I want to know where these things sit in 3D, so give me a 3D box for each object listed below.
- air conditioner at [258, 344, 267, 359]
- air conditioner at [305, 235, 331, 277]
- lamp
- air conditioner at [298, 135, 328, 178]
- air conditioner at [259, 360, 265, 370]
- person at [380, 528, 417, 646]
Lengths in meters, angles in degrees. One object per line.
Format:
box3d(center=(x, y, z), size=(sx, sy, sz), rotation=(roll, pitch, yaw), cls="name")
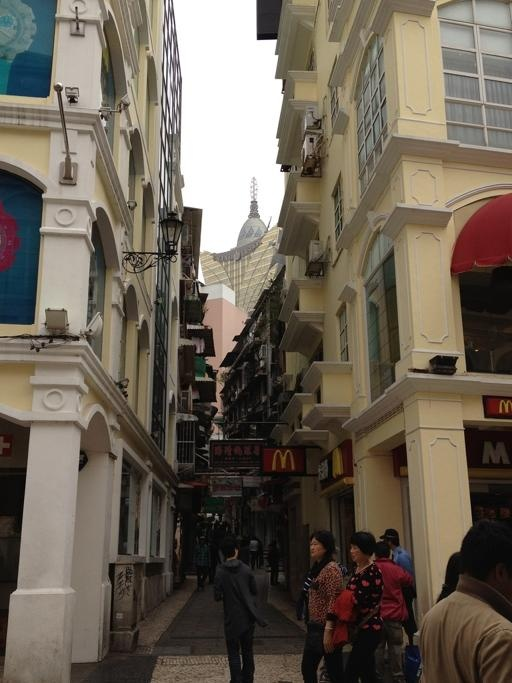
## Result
box3d(center=(0.706, 0.997, 55.411), size=(0.928, 2.209, 1.062), rotation=(1, -8, 0), cls="air conditioner")
box3d(center=(1.804, -2.467, 17.017), size=(0.553, 1.015, 1.273), rotation=(1, -20, -6), cls="air conditioner")
box3d(center=(-1.873, -1.855, 10.416), size=(1.121, 1.333, 0.468), rotation=(1, 18, -21), cls="lamp")
box3d(center=(1.750, -5.609, 17.530), size=(0.705, 1.523, 1.477), rotation=(0, -25, 1), cls="air conditioner")
box3d(center=(0.595, 2.143, 54.941), size=(0.346, 1.183, 1.353), rotation=(1, -19, -5), cls="air conditioner")
box3d(center=(1.828, 3.507, 7.648), size=(0.438, 1.688, 0.483), rotation=(1, 8, 24), cls="person")
